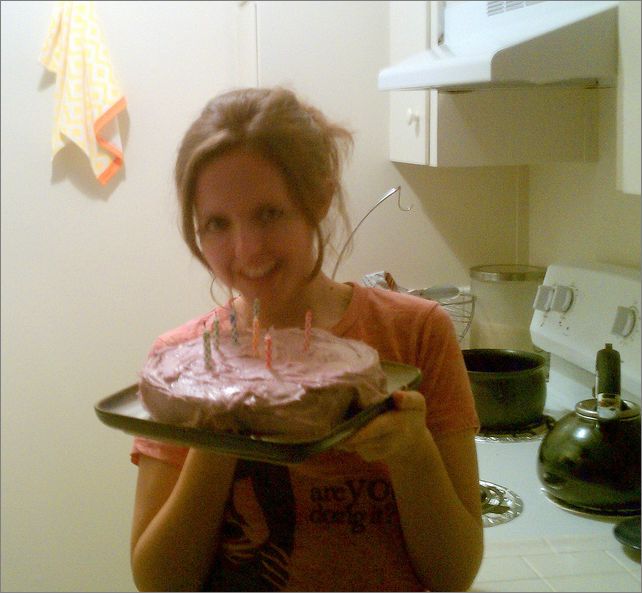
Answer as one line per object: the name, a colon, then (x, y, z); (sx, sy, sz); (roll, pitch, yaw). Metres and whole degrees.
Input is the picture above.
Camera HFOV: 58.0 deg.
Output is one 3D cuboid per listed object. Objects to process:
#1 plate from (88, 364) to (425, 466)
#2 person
plate: (-0.052, 0.121, 0.588); (0.215, 0.087, 0.195); (5, 17, 26)
person: (-0.031, 0.124, 0.798); (0.315, 0.787, 0.409); (3, 6, 42)
